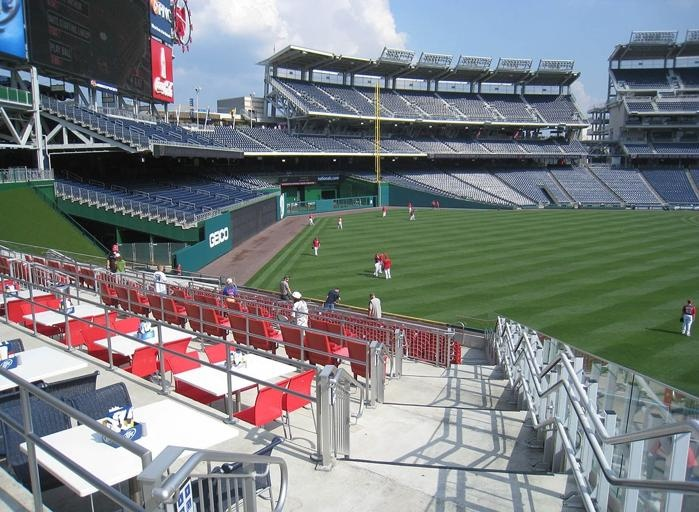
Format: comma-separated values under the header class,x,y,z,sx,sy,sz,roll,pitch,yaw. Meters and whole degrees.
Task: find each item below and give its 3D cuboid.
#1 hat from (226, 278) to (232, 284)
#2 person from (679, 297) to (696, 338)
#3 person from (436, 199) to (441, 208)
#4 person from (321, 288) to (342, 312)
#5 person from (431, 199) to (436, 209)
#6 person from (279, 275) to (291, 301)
class,x,y,z,sx,sy,sz,roll,pitch,yaw
hat,-4.167,0.872,21.129,0.169,0.092,0.221,4,-19,33
person,9.857,1.770,17.842,0.362,0.998,1.523,-1,1,28
person,8.334,-4.969,58.045,0.388,0.766,0.774,-2,1,7
person,-0.585,1.382,19.106,0.401,0.348,0.869,3,26,11
person,8.043,-4.969,58.093,0.584,0.928,1.371,-2,1,7
person,-2.254,1.139,21.302,0.324,1.009,0.448,-26,39,-34
